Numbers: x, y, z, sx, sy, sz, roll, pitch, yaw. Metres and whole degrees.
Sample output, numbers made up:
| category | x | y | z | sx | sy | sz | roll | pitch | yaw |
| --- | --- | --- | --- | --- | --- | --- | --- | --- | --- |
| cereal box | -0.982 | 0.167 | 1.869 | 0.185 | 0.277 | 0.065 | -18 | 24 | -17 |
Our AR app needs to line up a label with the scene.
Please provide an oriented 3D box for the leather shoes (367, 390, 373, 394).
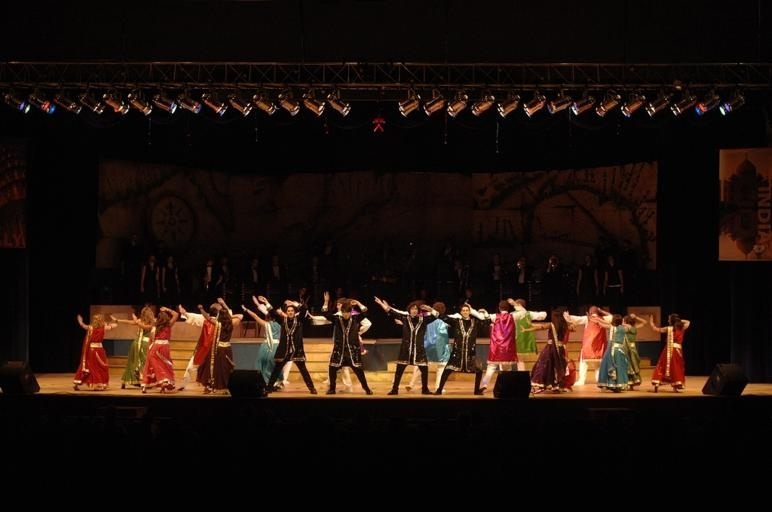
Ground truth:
| category | x | y | z | sx | sy | sz | roll | pitch | yaw |
| --- | --- | --- | --- | --- | --- | --- | --- | --- | --- |
| leather shoes | -0.301 | 2.460 | 14.578 | 0.107 | 0.078 | 0.059 | 4 | -13 | -20 |

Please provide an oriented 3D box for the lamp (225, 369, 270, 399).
| category | x | y | z | sx | sy | sz | roll | pitch | yaw |
| --- | --- | --- | --- | --- | --- | --- | --- | --- | --- |
| lamp | -2.386 | 2.193 | 13.819 | 0.530 | 0.517 | 0.469 | 3 | 32 | 8 |

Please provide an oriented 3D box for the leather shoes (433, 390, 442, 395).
| category | x | y | z | sx | sy | sz | roll | pitch | yaw |
| --- | --- | --- | --- | --- | --- | --- | --- | --- | --- |
| leather shoes | 0.926 | 2.457 | 14.596 | 0.139 | 0.071 | 0.177 | 2 | -10 | -2 |

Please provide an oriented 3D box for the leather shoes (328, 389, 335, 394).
| category | x | y | z | sx | sy | sz | roll | pitch | yaw |
| --- | --- | --- | --- | --- | --- | --- | --- | --- | --- |
| leather shoes | -0.986 | 2.443 | 14.598 | 0.151 | 0.096 | 0.181 | 3 | -10 | -7 |

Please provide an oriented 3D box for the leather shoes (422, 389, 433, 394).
| category | x | y | z | sx | sy | sz | roll | pitch | yaw |
| --- | --- | --- | --- | --- | --- | --- | --- | --- | --- |
| leather shoes | 0.731 | 2.452 | 14.651 | 0.204 | 0.100 | 0.307 | 1 | -10 | 2 |

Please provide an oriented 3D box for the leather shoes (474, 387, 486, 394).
| category | x | y | z | sx | sy | sz | roll | pitch | yaw |
| --- | --- | --- | --- | --- | --- | --- | --- | --- | --- |
| leather shoes | 1.720 | 2.450 | 14.681 | 0.171 | 0.120 | 0.432 | -4 | -12 | 31 |

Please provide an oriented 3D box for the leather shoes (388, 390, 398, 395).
| category | x | y | z | sx | sy | sz | roll | pitch | yaw |
| --- | --- | --- | --- | --- | --- | --- | --- | --- | --- |
| leather shoes | 0.121 | 2.457 | 14.598 | 0.196 | 0.072 | 0.216 | 1 | -10 | 3 |

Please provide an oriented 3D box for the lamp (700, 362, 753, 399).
| category | x | y | z | sx | sy | sz | roll | pitch | yaw |
| --- | --- | --- | --- | --- | --- | --- | --- | --- | --- |
| lamp | 6.028 | 2.233 | 14.497 | 0.496 | 0.669 | 0.706 | 6 | -6 | -13 |

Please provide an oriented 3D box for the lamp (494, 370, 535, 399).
| category | x | y | z | sx | sy | sz | roll | pitch | yaw |
| --- | --- | --- | --- | --- | --- | --- | --- | --- | --- |
| lamp | 2.150 | 2.194 | 13.725 | 0.534 | 0.499 | 0.465 | 0 | -22 | -4 |

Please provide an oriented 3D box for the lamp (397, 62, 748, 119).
| category | x | y | z | sx | sy | sz | roll | pitch | yaw |
| --- | --- | --- | --- | --- | --- | --- | --- | --- | --- |
| lamp | 3.617 | -3.207 | 15.409 | 4.699 | 0.735 | 0.583 | 2 | -46 | 5 |
